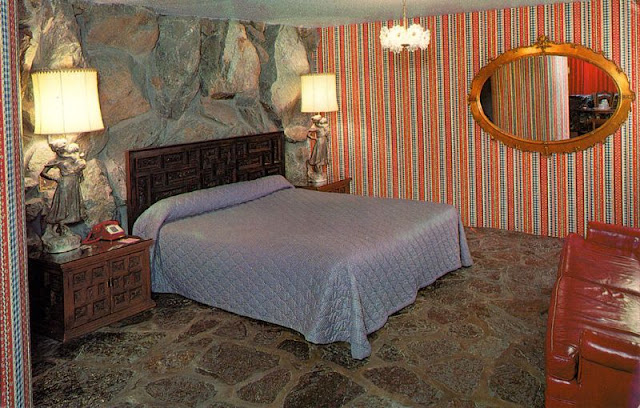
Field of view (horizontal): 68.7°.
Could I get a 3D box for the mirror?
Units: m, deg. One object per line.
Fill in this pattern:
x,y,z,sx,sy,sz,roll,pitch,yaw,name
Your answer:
3.098,-1.444,6.080,1.641,1.269,0.070,8,18,35,mirror

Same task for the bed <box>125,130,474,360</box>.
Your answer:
-0.430,0.336,5.068,2.583,1.394,2.729,5,14,30,bed

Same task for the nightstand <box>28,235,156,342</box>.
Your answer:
-2.234,0.772,4.635,0.753,0.923,1.383,3,9,30,nightstand

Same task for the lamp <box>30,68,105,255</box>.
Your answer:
-2.428,-0.422,4.436,0.464,1.638,0.721,10,20,32,lamp

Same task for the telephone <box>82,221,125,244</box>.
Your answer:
-2.183,0.288,4.742,0.236,0.124,0.328,3,10,25,telephone
